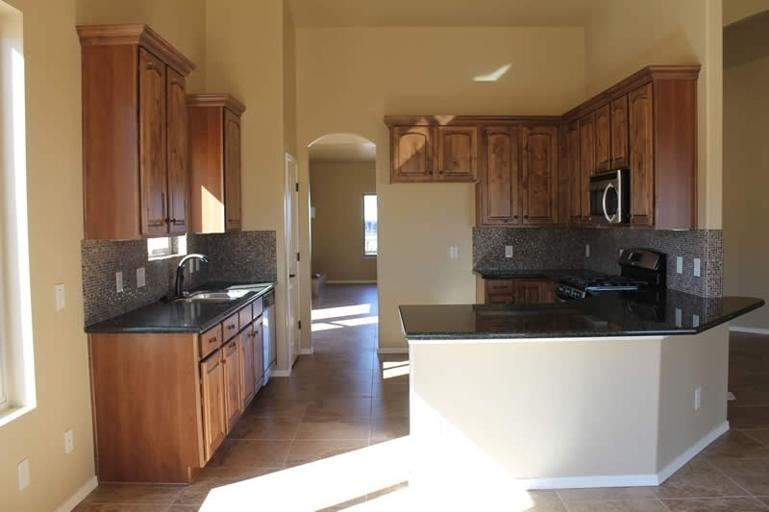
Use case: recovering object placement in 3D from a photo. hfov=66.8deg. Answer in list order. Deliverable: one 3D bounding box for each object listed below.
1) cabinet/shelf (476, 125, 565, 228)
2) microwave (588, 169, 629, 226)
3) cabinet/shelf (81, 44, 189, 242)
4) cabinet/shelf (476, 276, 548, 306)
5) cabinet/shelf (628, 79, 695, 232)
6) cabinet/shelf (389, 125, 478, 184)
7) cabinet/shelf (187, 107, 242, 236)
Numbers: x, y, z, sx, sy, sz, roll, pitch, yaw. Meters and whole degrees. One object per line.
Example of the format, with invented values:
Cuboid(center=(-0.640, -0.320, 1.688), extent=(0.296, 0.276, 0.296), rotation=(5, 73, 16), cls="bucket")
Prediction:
Cuboid(center=(1.620, -1.002, 6.991), extent=(1.258, 1.416, 0.556), rotation=(0, 0, -2), cls="cabinet/shelf")
Cuboid(center=(2.300, -0.588, 6.001), extent=(0.267, 0.469, 0.544), rotation=(-1, 3, -13), cls="microwave")
Cuboid(center=(-2.070, -0.898, 4.769), extent=(0.532, 1.536, 0.795), rotation=(0, 13, 4), cls="cabinet/shelf")
Cuboid(center=(1.515, 0.420, 6.879), extent=(0.547, 0.492, 0.354), rotation=(0, -1, -1), cls="cabinet/shelf")
Cuboid(center=(2.678, -1.040, 5.658), extent=(0.460, 1.357, 0.853), rotation=(-4, 13, 11), cls="cabinet/shelf")
Cuboid(center=(0.603, -1.205, 6.955), extent=(1.174, 0.731, 0.637), rotation=(0, 0, 0), cls="cabinet/shelf")
Cuboid(center=(-1.762, -0.920, 6.008), extent=(0.385, 1.389, 0.891), rotation=(0, 13, 4), cls="cabinet/shelf")
